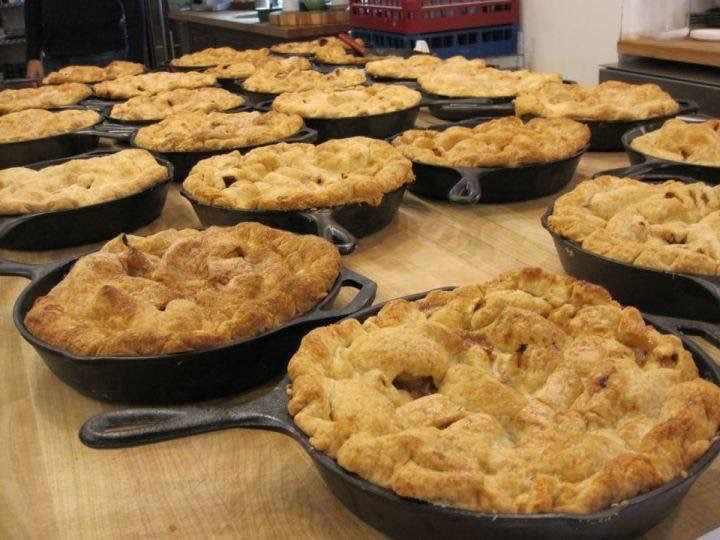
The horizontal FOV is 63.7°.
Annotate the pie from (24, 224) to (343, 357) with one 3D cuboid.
[{"bbox_3d":[-0.281,0.033,0.947,0.288,0.038,0.323,17,26,37],"label":"pie"}]

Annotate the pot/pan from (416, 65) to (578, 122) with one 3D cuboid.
[{"bbox_3d":[0.416,-0.642,2.054,0.396,0.108,0.417,-11,21,-23],"label":"pot/pan"}]

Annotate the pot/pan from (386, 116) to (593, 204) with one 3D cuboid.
[{"bbox_3d":[0.344,-0.288,1.443,0.327,0.091,0.462,13,25,36],"label":"pot/pan"}]

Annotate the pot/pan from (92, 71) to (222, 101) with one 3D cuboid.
[{"bbox_3d":[-0.854,-0.774,2.395,0.408,0.044,0.247,0,19,19],"label":"pot/pan"}]

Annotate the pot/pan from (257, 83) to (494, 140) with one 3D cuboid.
[{"bbox_3d":[-0.016,-0.500,1.809,0.563,0.093,0.280,2,19,8],"label":"pot/pan"}]

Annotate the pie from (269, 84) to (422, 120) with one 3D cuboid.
[{"bbox_3d":[-0.044,-0.538,1.854,0.302,0.035,0.325,3,9,15],"label":"pie"}]

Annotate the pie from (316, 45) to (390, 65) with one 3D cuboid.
[{"bbox_3d":[-0.048,-1.049,2.843,0.360,0.038,0.185,-2,21,-21],"label":"pie"}]

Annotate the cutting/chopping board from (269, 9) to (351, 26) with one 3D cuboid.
[{"bbox_3d":[-0.340,-1.854,4.226,0.582,0.140,0.220,-9,23,-20],"label":"cutting/chopping board"}]

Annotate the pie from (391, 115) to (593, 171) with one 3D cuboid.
[{"bbox_3d":[0.319,-0.341,1.521,0.544,0.061,0.352,-14,31,-25],"label":"pie"}]

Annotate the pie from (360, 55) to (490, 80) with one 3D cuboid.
[{"bbox_3d":[0.252,-0.839,2.397,0.404,0.055,0.457,-2,12,0],"label":"pie"}]

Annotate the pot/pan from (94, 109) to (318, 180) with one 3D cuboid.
[{"bbox_3d":[-0.420,-0.375,1.603,0.473,0.095,0.311,-6,22,-12],"label":"pot/pan"}]

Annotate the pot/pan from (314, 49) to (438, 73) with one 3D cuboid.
[{"bbox_3d":[0.094,-0.974,2.677,0.537,0.057,0.288,-5,14,-22],"label":"pot/pan"}]

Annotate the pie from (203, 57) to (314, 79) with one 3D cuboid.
[{"bbox_3d":[-0.420,-0.923,2.627,0.412,0.036,0.219,-13,18,-33],"label":"pie"}]

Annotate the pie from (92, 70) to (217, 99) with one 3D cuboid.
[{"bbox_3d":[-0.855,-0.776,2.398,0.418,0.043,0.240,-2,20,9],"label":"pie"}]

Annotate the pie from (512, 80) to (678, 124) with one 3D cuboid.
[{"bbox_3d":[0.738,-0.512,1.771,0.342,0.050,0.335,-1,11,-1],"label":"pie"}]

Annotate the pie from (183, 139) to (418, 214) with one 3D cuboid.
[{"bbox_3d":[-0.119,-0.229,1.348,0.409,0.053,0.255,-5,20,1],"label":"pie"}]
